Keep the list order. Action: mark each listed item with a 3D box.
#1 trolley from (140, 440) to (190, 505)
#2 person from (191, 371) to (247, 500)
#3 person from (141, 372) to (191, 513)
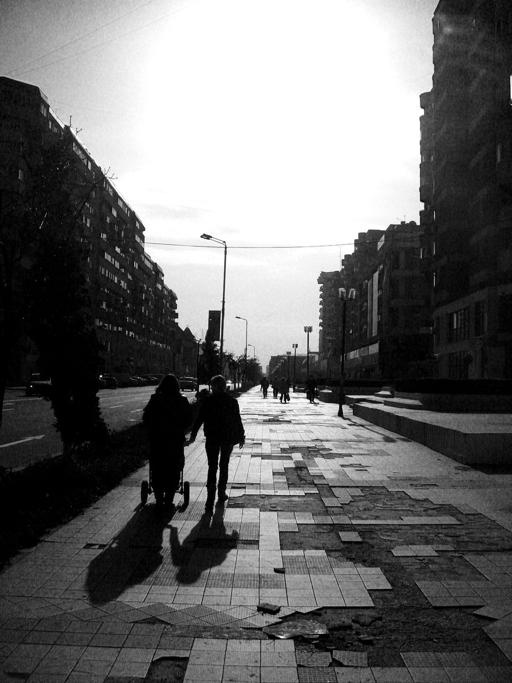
[{"bbox_3d":[-1.156,1.728,7.655,0.405,0.941,0.747,2,1,-3],"label":"trolley"},{"bbox_3d":[-0.539,1.267,7.895,0.522,1.870,0.491,1,15,-5],"label":"person"},{"bbox_3d":[-1.136,1.191,7.453,0.458,1.863,0.505,1,19,-12],"label":"person"}]
